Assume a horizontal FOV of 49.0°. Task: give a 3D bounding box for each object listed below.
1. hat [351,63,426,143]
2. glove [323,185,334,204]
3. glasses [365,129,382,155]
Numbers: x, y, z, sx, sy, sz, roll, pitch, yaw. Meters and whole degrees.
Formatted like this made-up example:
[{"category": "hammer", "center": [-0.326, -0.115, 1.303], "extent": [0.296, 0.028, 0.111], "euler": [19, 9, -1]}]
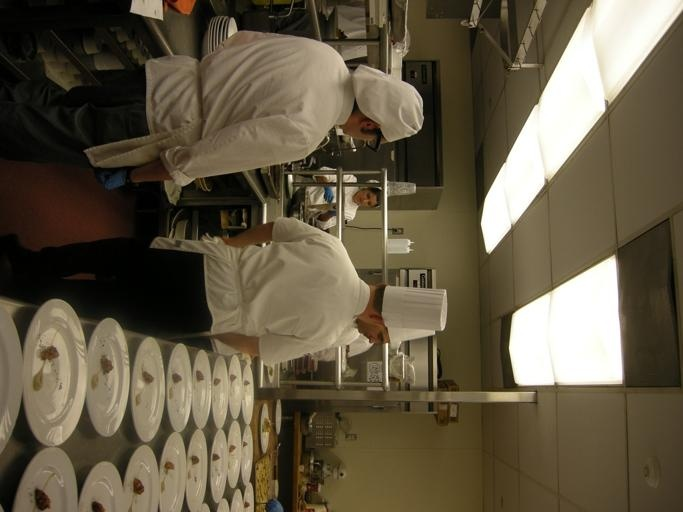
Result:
[{"category": "hat", "center": [0.202, -0.662, 3.319], "extent": [0.322, 0.243, 0.223], "euler": [10, -16, 4]}, {"category": "glove", "center": [-0.080, -0.407, 5.017], "extent": [0.028, 0.120, 0.074], "euler": [6, 20, 38]}, {"category": "glasses", "center": [0.150, -0.521, 3.421], "extent": [0.020, 0.091, 0.081], "euler": [-1, 23, -13]}]
